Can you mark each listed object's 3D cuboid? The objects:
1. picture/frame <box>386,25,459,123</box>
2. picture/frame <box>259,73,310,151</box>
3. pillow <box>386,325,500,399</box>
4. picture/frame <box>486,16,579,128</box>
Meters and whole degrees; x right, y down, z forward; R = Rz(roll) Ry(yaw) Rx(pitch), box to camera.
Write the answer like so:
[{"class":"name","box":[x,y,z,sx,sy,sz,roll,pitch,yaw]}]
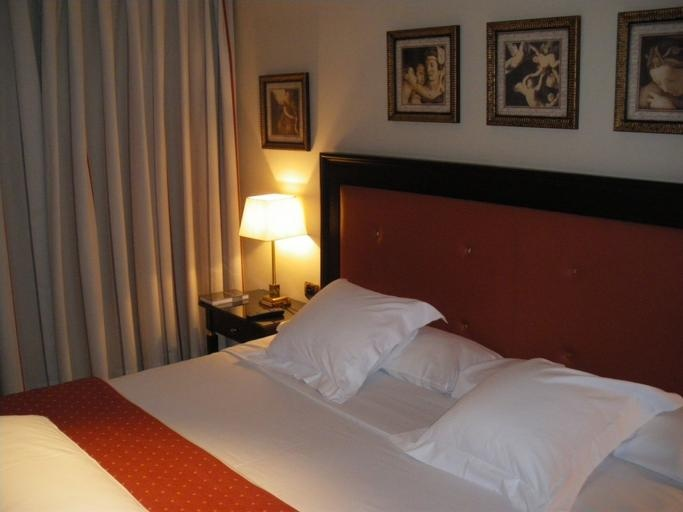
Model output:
[{"class":"picture/frame","box":[0.439,-0.973,2.857,0.041,0.542,0.454,-12,15,-43]},{"class":"picture/frame","box":[-0.385,-0.956,3.595,0.427,0.520,0.040,11,18,36]},{"class":"pillow","box":[0.459,0.480,2.576,0.326,0.110,0.307,15,38,43]},{"class":"picture/frame","box":[0.888,-0.854,2.473,0.038,0.570,0.454,-10,12,-42]}]
